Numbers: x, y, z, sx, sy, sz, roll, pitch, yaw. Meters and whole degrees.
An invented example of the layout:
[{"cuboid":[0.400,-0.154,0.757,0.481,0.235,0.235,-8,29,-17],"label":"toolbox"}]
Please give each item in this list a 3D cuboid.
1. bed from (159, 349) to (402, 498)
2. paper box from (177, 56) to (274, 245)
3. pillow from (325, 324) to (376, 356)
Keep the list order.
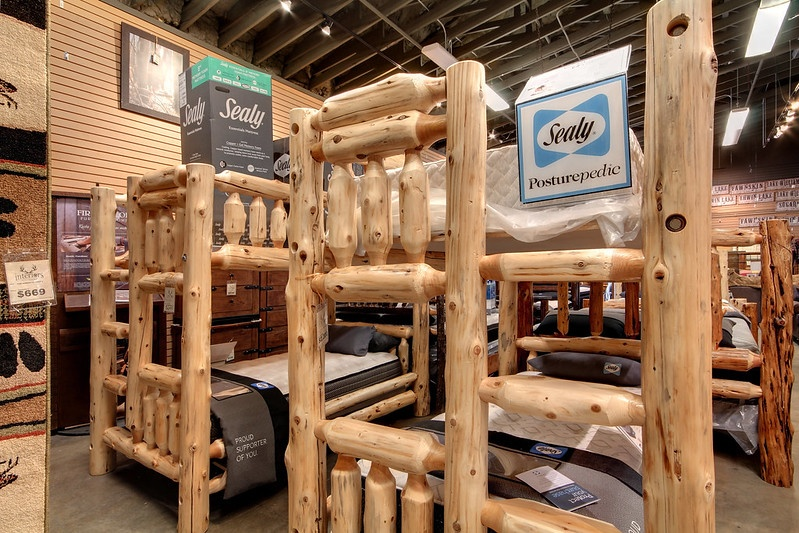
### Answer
[{"cuboid":[-1.026,1.078,4.427,1.566,0.478,2.188,-2,3,36],"label":"bed"},{"cuboid":[-1.407,-0.902,4.127,0.506,1.308,0.441,0,0,-45],"label":"paper box"},{"cuboid":[-0.475,0.680,4.668,0.319,0.083,0.345,0,29,13],"label":"pillow"}]
